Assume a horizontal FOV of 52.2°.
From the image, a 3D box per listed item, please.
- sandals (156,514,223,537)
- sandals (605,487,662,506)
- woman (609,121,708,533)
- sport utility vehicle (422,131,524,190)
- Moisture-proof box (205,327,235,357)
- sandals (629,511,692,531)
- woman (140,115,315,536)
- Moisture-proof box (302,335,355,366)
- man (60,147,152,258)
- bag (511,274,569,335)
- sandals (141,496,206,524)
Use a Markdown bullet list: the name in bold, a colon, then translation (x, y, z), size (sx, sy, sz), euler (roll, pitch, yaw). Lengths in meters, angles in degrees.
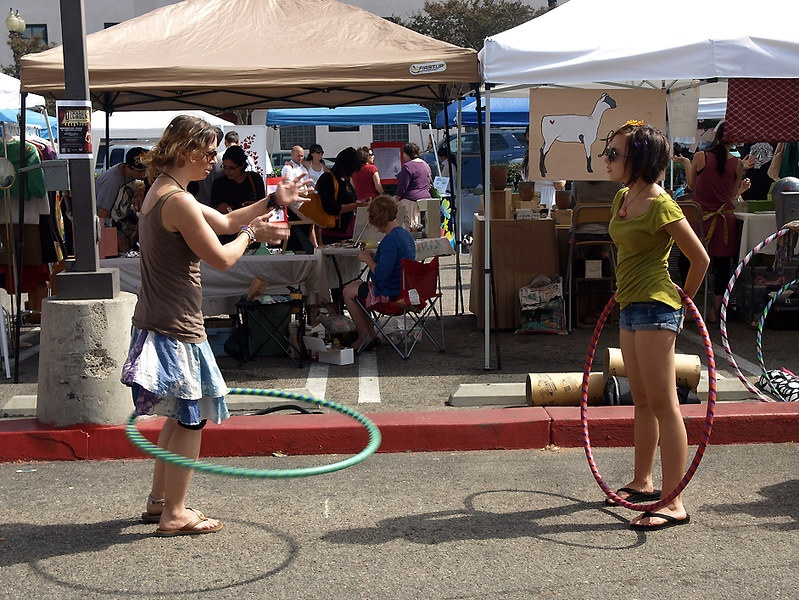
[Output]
- **sandals**: translation (-1.209, 1.264, 4.690), size (0.278, 0.093, 0.148), euler (-4, 4, -18)
- **sandals**: translation (1.435, 1.162, 4.940), size (0.309, 0.085, 0.137), euler (0, 0, -7)
- **woman**: translation (1.466, 0.106, 4.757), size (0.633, 2.253, 0.417), euler (10, 15, 44)
- **sport utility vehicle**: translation (2.258, -3.838, 21.267), size (3.104, 1.589, 1.802), euler (0, 9, -6)
- **Moisture-proof box**: translation (-1.868, 0.390, 8.616), size (0.402, 0.399, 0.314), euler (-1, 5, -9)
- **sandals**: translation (1.508, 1.256, 4.717), size (0.251, 0.068, 0.133), euler (0, -5, -10)
- **woman**: translation (-1.117, -0.064, 4.551), size (0.882, 1.901, 0.440), euler (-5, 12, -21)
- **Moisture-proof box**: translation (-0.694, 0.459, 8.283), size (0.336, 0.235, 0.351), euler (-4, 6, -35)
- **man**: translation (-2.825, -0.932, 7.875), size (0.529, 0.747, 1.450), euler (13, -27, -29)
- **bag**: translation (1.613, 0.046, 9.336), size (0.585, 0.755, 0.604), euler (1, 2, 4)
- **sandals**: translation (-1.383, 1.259, 4.898), size (0.394, 0.162, 0.162), euler (0, 3, -1)
